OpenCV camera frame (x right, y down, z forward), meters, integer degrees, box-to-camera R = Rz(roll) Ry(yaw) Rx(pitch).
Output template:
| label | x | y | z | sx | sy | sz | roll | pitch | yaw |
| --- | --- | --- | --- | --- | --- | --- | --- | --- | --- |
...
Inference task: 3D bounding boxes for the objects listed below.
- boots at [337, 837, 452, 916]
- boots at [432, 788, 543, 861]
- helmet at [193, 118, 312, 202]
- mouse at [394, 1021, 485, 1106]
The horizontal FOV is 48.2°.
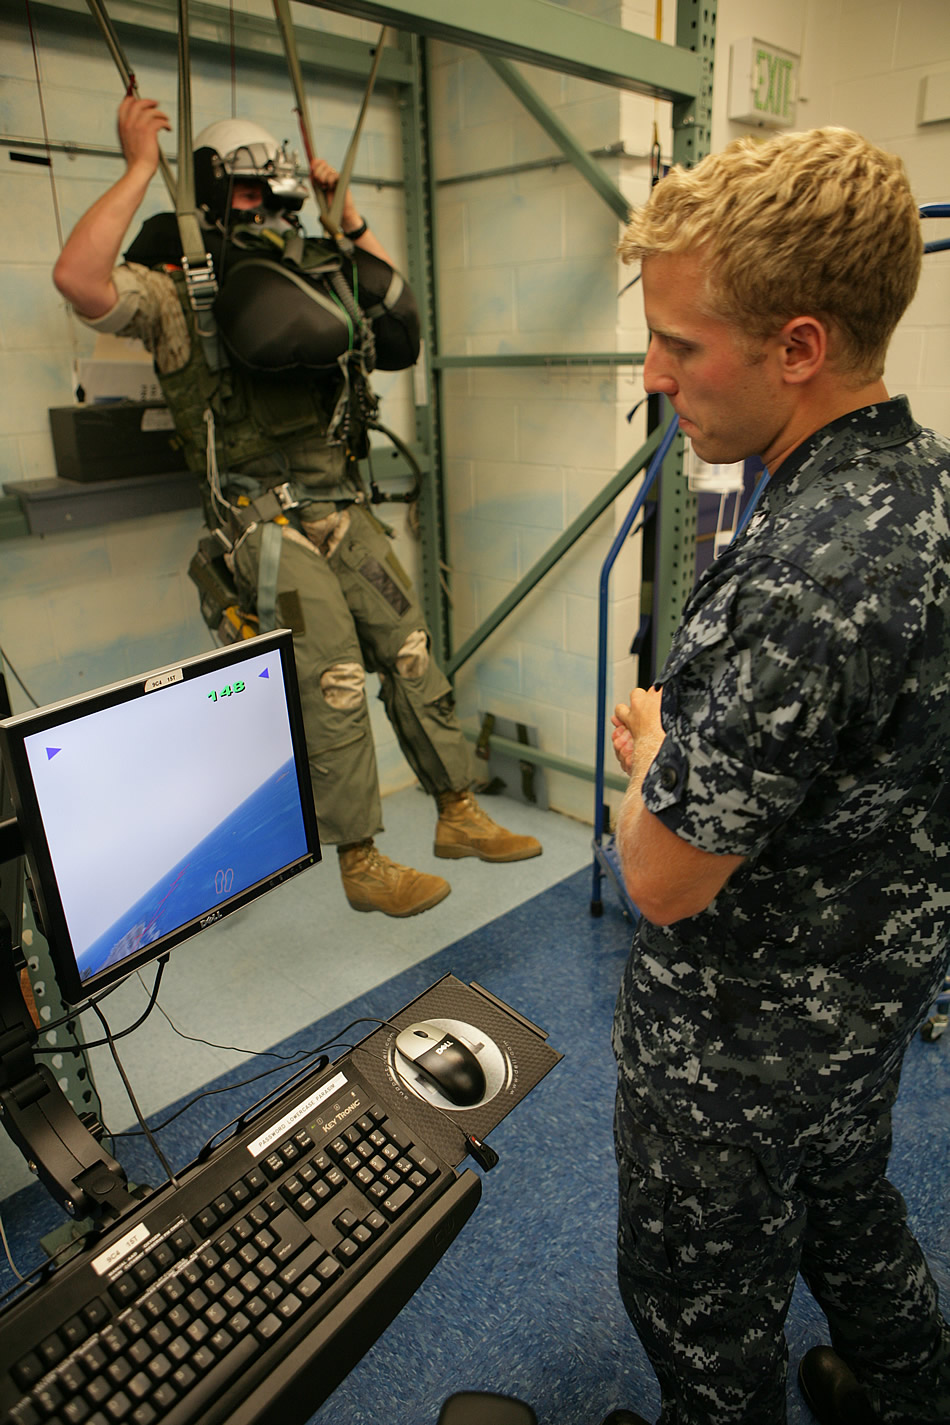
| label | x | y | z | sx | sy | sz | roll | pitch | yaw |
| --- | --- | --- | --- | --- | --- | --- | --- | --- | --- |
| boots | -0.165 | 0.327 | 2.316 | 0.290 | 0.194 | 0.110 | 2 | 35 | 16 |
| boots | 0.029 | 0.266 | 2.545 | 0.313 | 0.201 | 0.116 | 1 | 11 | 13 |
| helmet | -0.436 | -1.009 | 2.017 | 0.201 | 0.101 | 0.141 | 27 | 45 | 4 |
| mouse | -0.031 | 0.376 | 1.143 | 0.050 | 0.022 | 0.083 | -19 | 46 | -43 |
